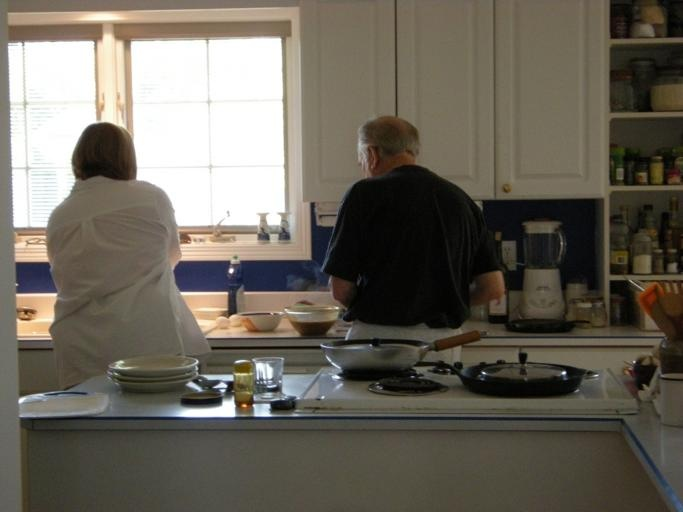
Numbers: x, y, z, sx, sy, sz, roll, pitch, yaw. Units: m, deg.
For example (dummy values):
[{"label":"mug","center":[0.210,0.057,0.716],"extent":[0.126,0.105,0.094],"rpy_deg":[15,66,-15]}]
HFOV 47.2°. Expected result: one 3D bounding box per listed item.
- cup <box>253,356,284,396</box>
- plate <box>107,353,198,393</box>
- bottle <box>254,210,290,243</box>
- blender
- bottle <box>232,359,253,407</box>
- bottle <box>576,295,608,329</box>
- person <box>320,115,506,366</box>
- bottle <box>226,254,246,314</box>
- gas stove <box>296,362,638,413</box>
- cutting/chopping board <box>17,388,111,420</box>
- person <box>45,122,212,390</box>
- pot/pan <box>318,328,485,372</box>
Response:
[{"label":"cup","center":[-0.225,0.378,2.493],"extent":[0.108,0.119,0.108],"rpy_deg":[0,2,0]},{"label":"plate","center":[-0.618,0.388,2.563],"extent":[0.282,0.083,0.158],"rpy_deg":[-2,11,-8]},{"label":"bottle","center":[-0.388,-0.168,4.440],"extent":[0.187,0.168,0.075],"rpy_deg":[0,0,-8]},{"label":"blender","center":[1.046,0.074,4.016],"extent":[0.232,0.492,0.394],"rpy_deg":[3,11,13]},{"label":"bottle","center":[-0.304,0.378,2.425],"extent":[0.065,0.124,0.189],"rpy_deg":[-2,11,-8]},{"label":"bottle","center":[1.237,0.272,3.856],"extent":[0.143,0.132,0.145],"rpy_deg":[1,2,16]},{"label":"person","center":[0.294,-0.032,3.112],"extent":[0.698,1.028,0.368],"rpy_deg":[1,11,5]},{"label":"bottle","center":[-0.574,0.153,4.212],"extent":[0.089,0.296,0.276],"rpy_deg":[-2,11,-8]},{"label":"gas stove","center":[0.380,0.414,2.431],"extent":[1.003,0.056,0.349],"rpy_deg":[1,11,4]},{"label":"cutting/chopping board","center":[-0.851,0.448,2.353],"extent":[0.292,0.035,0.141],"rpy_deg":[1,11,5]},{"label":"person","center":[-0.861,-0.008,3.119],"extent":[0.605,1.034,0.282],"rpy_deg":[-4,12,-21]},{"label":"pot/pan","center":[0.160,0.311,2.550],"extent":[0.350,0.106,0.217],"rpy_deg":[0,-2,-1]}]
